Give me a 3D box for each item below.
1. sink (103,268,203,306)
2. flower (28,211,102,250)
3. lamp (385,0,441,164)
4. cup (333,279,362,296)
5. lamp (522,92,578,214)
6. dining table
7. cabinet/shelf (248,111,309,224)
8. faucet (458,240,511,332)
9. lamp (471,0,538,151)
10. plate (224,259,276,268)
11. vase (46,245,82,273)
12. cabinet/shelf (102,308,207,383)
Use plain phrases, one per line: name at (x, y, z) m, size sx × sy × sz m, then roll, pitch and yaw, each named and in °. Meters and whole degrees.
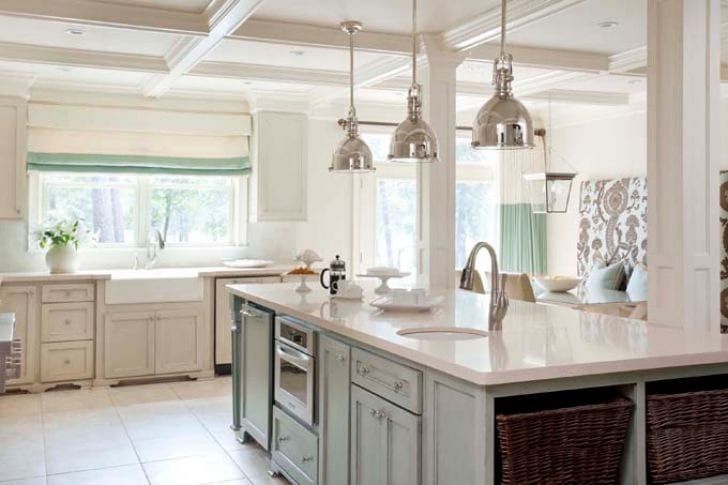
sink at (-2.277, 0.481, 5.737) m, size 0.984 × 0.310 × 0.481 m, roll -1°, pitch 3°, yaw -25°
flower at (-3.307, -0.141, 5.824) m, size 0.664 × 0.444 × 0.608 m, roll -1°, pitch 4°, yaw -28°
lamp at (0.339, -1.147, 3.568) m, size 0.292 × 1.257 × 1.094 m, roll 1°, pitch 3°, yaw 6°
cup at (-0.085, 0.312, 3.680) m, size 0.166 × 0.110 × 0.105 m, roll 0°, pitch -7°, yaw 43°
lamp at (1.919, -0.861, 5.588) m, size 0.429 × 1.100 × 0.434 m, roll 4°, pitch -13°, yaw -24°
dining table at (2.296, 0.618, 5.256) m, size 0.890 × 0.212 × 1.285 m, roll 3°, pitch 4°, yaw 37°
cabinet/shelf at (-0.826, -0.978, 6.642) m, size 0.988 × 1.295 × 0.997 m, roll -4°, pitch 11°, yaw -26°
faucet at (0.587, 0.219, 2.593) m, size 0.262 × 0.428 × 0.146 m, roll 2°, pitch 0°, yaw -22°
lamp at (0.765, -0.925, 2.873) m, size 0.318 × 0.853 × 0.607 m, roll 1°, pitch 3°, yaw 14°
plate at (-1.427, 0.248, 6.362) m, size 0.576 × 0.069 × 0.621 m, roll 0°, pitch 3°, yaw -4°
vase at (-3.169, 0.171, 5.565) m, size 0.299 × 0.277 × 0.296 m, roll 3°, pitch -10°, yaw -26°
cabinet/shelf at (-2.305, 1.091, 5.860) m, size 1.140 × 0.811 × 0.635 m, roll -1°, pitch -3°, yaw -15°
